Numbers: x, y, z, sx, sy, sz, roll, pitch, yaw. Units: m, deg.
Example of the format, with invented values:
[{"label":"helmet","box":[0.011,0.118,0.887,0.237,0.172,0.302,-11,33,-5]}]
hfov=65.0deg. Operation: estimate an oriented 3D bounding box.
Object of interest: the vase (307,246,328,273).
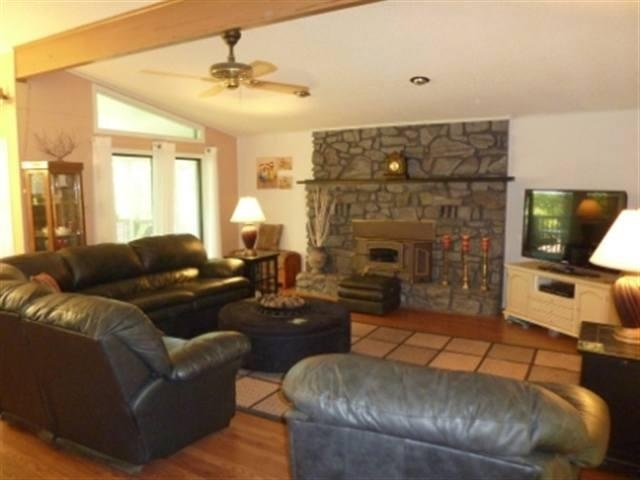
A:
[{"label":"vase","box":[-0.071,0.288,7.555,0.315,0.380,0.272,1,9,13]}]

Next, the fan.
[{"label":"fan","box":[-0.816,-1.686,4.829,1.051,0.663,1.761,-3,7,-14]}]

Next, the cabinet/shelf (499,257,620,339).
[{"label":"cabinet/shelf","box":[2.701,0.642,5.542,0.461,0.677,1.224,-9,12,-28]}]

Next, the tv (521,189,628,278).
[{"label":"tv","box":[2.746,-0.136,5.559,1.271,0.825,0.129,3,4,-17]}]

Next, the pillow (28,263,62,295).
[{"label":"pillow","box":[-2.321,0.320,4.170,0.065,0.217,0.186,-48,15,-1]}]

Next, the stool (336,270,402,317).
[{"label":"stool","box":[0.737,0.660,6.579,0.608,0.358,0.593,4,6,35]}]
